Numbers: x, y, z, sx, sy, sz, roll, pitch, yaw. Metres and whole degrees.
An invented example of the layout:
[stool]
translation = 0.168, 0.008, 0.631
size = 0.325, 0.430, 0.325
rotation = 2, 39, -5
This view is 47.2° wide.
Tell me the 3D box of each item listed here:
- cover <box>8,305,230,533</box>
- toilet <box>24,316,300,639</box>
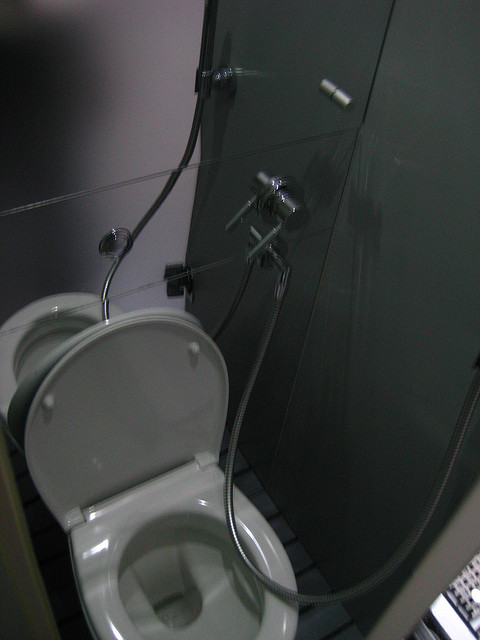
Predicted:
[cover]
translation = -0.220, 0.153, 0.972
size = 0.296, 0.426, 0.295
rotation = -18, 46, -30
[toilet]
translation = -0.150, 0.290, 1.033
size = 0.367, 0.675, 0.422
rotation = -13, 42, -21
